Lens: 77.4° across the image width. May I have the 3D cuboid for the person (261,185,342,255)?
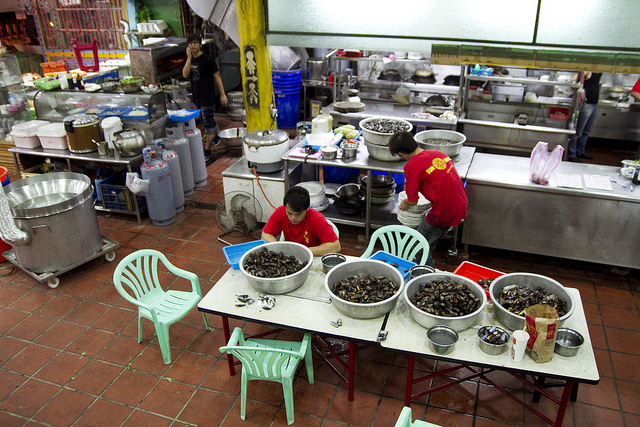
[{"bbox_3d":[-0.247,0.085,4.917,0.683,0.964,0.579,16,62,15],"label":"person"}]

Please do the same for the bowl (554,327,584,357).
[{"bbox_3d":[2.230,1.165,3.588,0.205,0.117,0.294,17,30,33],"label":"bowl"}]

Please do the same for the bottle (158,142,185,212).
[{"bbox_3d":[-2.512,-0.594,6.810,0.241,1.206,0.336,-21,33,-34],"label":"bottle"}]

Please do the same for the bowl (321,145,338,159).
[{"bbox_3d":[0.119,-0.883,5.906,0.202,0.120,0.196,0,37,0],"label":"bowl"}]

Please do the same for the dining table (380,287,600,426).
[{"bbox_3d":[1.614,1.483,3.959,1.941,1.188,0.873,2,26,6],"label":"dining table"}]

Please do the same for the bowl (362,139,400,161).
[{"bbox_3d":[0.831,-0.945,5.713,0.366,0.149,0.358,1,24,0],"label":"bowl"}]

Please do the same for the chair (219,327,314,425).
[{"bbox_3d":[-0.493,1.560,4.085,0.748,0.968,0.668,7,27,16],"label":"chair"}]

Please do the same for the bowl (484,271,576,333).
[{"bbox_3d":[1.975,0.813,3.803,0.627,0.232,0.604,-2,30,1],"label":"bowl"}]

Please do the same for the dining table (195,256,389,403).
[{"bbox_3d":[-0.148,1.018,4.607,1.906,0.901,1.383,6,38,18],"label":"dining table"}]

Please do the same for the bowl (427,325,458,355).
[{"bbox_3d":[1.107,1.142,3.607,0.271,0.155,0.224,4,26,11],"label":"bowl"}]

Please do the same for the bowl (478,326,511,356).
[{"bbox_3d":[1.573,1.145,3.616,0.253,0.092,0.222,8,42,15],"label":"bowl"}]

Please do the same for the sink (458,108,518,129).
[{"bbox_3d":[3.382,-1.886,8.013,0.533,0.342,0.261,14,63,16],"label":"sink"}]

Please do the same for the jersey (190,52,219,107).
[{"bbox_3d":[-2.309,-2.624,7.933,0.589,1.045,0.395,-1,27,0],"label":"jersey"}]

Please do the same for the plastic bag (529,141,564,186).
[{"bbox_3d":[3.024,-0.679,5.411,0.310,0.537,0.317,18,32,34],"label":"plastic bag"}]

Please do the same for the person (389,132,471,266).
[{"bbox_3d":[1.419,-0.076,5.293,1.049,2.008,0.771,18,37,35],"label":"person"}]

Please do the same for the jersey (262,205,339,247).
[{"bbox_3d":[-0.236,0.154,4.704,0.848,0.662,0.394,7,49,10],"label":"jersey"}]

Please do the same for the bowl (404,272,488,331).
[{"bbox_3d":[1.266,0.822,3.893,0.774,0.263,0.741,6,19,-2],"label":"bowl"}]

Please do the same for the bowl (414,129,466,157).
[{"bbox_3d":[1.734,-1.061,5.850,0.630,0.243,0.615,-1,34,1],"label":"bowl"}]

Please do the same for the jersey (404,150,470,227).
[{"bbox_3d":[1.459,-0.324,5.036,0.806,0.943,0.672,-32,34,-21],"label":"jersey"}]

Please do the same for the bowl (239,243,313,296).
[{"bbox_3d":[-0.447,0.553,4.132,0.605,0.240,0.578,0,30,0],"label":"bowl"}]

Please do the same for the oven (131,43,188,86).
[{"bbox_3d":[-3.982,-3.826,10.162,0.656,0.841,1.767,6,30,9],"label":"oven"}]

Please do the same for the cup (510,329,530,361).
[{"bbox_3d":[1.758,1.192,3.502,0.174,0.232,0.177,10,3,0],"label":"cup"}]

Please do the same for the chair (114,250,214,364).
[{"bbox_3d":[-1.857,1.054,4.745,0.944,1.032,0.922,1,25,-7],"label":"chair"}]

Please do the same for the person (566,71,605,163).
[{"bbox_3d":[5.476,-1.968,8.108,0.451,1.790,1.355,20,33,36],"label":"person"}]
